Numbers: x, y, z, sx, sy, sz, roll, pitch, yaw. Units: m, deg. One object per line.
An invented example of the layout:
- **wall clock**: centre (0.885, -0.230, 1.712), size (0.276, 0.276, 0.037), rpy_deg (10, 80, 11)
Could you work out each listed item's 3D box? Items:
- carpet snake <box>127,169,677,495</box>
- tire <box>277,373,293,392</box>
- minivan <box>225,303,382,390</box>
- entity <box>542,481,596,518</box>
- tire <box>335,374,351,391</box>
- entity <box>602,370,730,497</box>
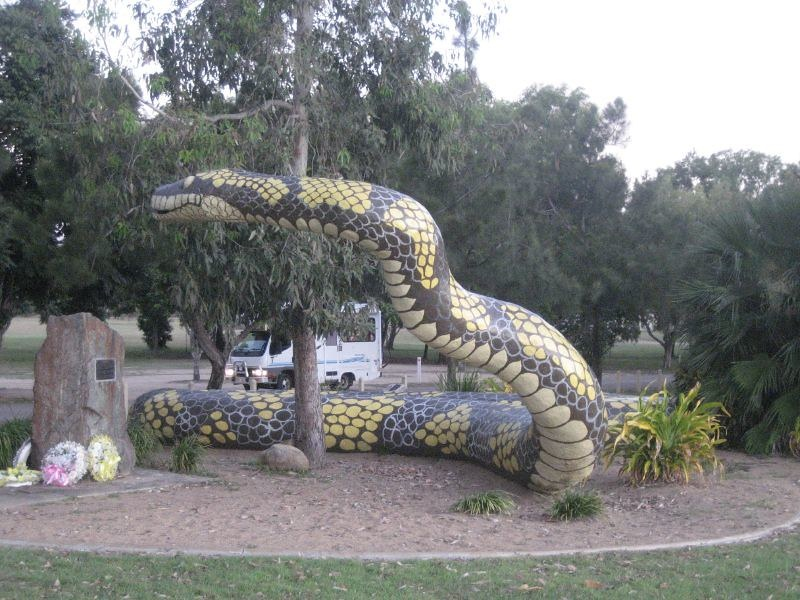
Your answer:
- **carpet snake**: centre (0.368, 0.682, 15.607), size (9.261, 6.376, 3.981), rpy_deg (2, -3, 7)
- **tire**: centre (-3.517, 2.477, 28.208), size (0.166, 0.590, 0.506), rpy_deg (-4, 2, 29)
- **minivan**: centre (-2.842, 1.928, 30.131), size (2.633, 2.829, 4.571), rpy_deg (-5, -8, 41)
- **entity**: centre (2.539, 2.958, 13.320), size (0.786, 0.325, 0.503), rpy_deg (0, 5, 1)
- **tire**: centre (-1.743, 2.591, 30.215), size (0.346, 0.219, 0.550), rpy_deg (4, 29, -3)
- **entity**: centre (4.319, 2.149, 15.213), size (1.830, 1.473, 1.986), rpy_deg (6, 13, 23)
